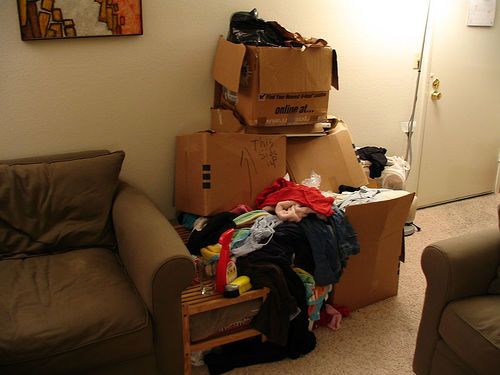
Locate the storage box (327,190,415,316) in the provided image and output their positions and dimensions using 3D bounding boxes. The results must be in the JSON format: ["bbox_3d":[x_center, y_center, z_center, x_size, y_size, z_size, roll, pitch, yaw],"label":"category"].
[{"bbox_3d":[0.747,0.426,2.574,0.629,0.657,0.428,-7,19,-20],"label":"storage box"}]

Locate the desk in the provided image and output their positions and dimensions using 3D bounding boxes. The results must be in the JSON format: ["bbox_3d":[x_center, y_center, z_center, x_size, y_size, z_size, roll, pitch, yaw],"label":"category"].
[{"bbox_3d":[-0.151,0.665,2.225,0.508,0.314,0.371,-12,21,-41],"label":"desk"}]

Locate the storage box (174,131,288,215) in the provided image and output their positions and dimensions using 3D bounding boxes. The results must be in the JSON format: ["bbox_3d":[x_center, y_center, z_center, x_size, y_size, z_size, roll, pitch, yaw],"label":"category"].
[{"bbox_3d":[-0.149,-0.130,2.954,0.946,0.671,0.506,-5,11,-32],"label":"storage box"}]
